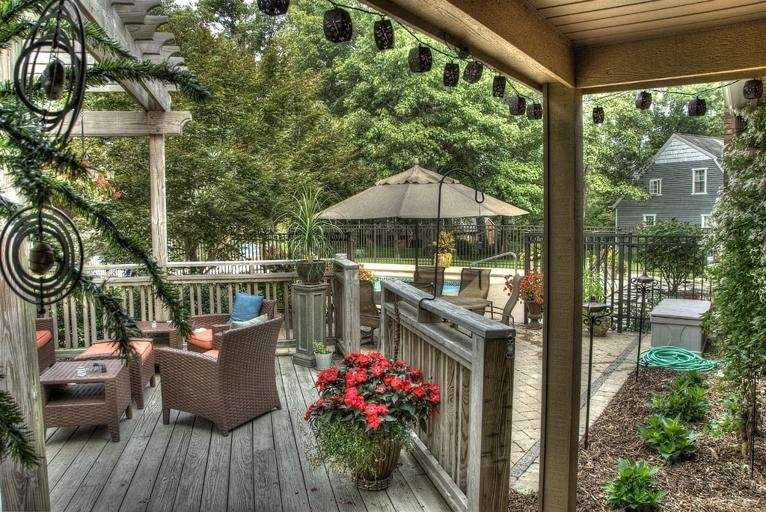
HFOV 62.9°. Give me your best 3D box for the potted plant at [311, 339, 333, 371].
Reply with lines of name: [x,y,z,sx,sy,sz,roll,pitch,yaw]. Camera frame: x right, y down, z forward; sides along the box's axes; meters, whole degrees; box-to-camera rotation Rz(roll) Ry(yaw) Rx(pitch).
potted plant: [-0.749,1.234,7.714,0.270,0.245,0.309,0,-2,-1]

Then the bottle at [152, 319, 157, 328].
bottle: [-2.963,0.888,8.099,0.081,0.121,0.084,-1,-4,0]

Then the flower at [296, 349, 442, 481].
flower: [-0.149,1.380,5.492,1.000,0.977,1.036,-2,0,-10]

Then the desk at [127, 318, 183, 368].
desk: [-2.888,1.116,8.030,0.608,0.474,0.648,12,8,22]

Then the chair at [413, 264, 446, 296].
chair: [0.759,0.390,10.036,0.410,0.694,0.495,-3,-7,36]

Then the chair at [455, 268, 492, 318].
chair: [1.453,0.560,9.742,0.622,0.960,0.666,1,-1,31]

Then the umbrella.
umbrella: [0.529,-0.366,8.777,1.701,0.933,1.816,-2,6,29]

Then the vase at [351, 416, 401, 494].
vase: [-0.033,1.702,5.298,0.439,0.539,0.510,1,-7,-6]

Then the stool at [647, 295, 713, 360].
stool: [4.256,1.000,8.990,0.694,0.609,0.966,7,12,29]

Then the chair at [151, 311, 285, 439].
chair: [-1.649,1.078,6.594,1.140,1.261,1.043,5,7,30]

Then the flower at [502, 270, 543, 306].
flower: [2.306,0.556,10.395,0.763,0.574,0.797,1,6,32]
